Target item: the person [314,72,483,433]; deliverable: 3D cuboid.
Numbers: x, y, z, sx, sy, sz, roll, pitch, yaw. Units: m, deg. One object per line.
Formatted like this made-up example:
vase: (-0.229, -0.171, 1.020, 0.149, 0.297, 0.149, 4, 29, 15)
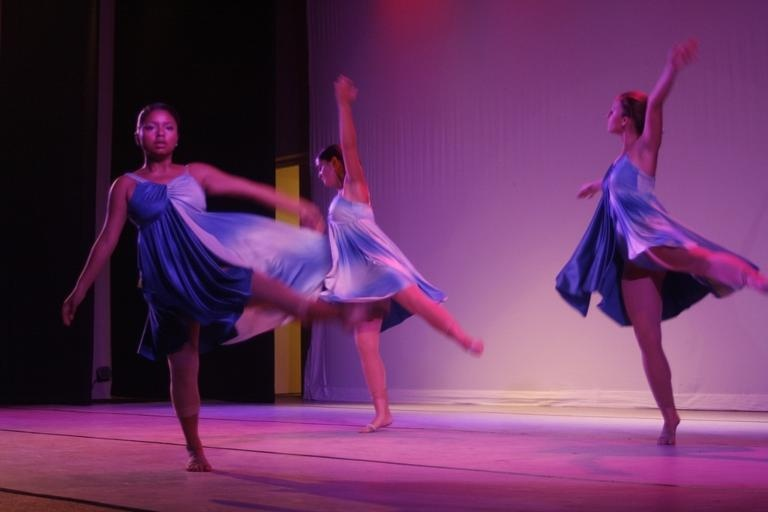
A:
person: (-0.154, 0.007, 4.227, 1.221, 2.031, 0.693, -17, -24, 24)
